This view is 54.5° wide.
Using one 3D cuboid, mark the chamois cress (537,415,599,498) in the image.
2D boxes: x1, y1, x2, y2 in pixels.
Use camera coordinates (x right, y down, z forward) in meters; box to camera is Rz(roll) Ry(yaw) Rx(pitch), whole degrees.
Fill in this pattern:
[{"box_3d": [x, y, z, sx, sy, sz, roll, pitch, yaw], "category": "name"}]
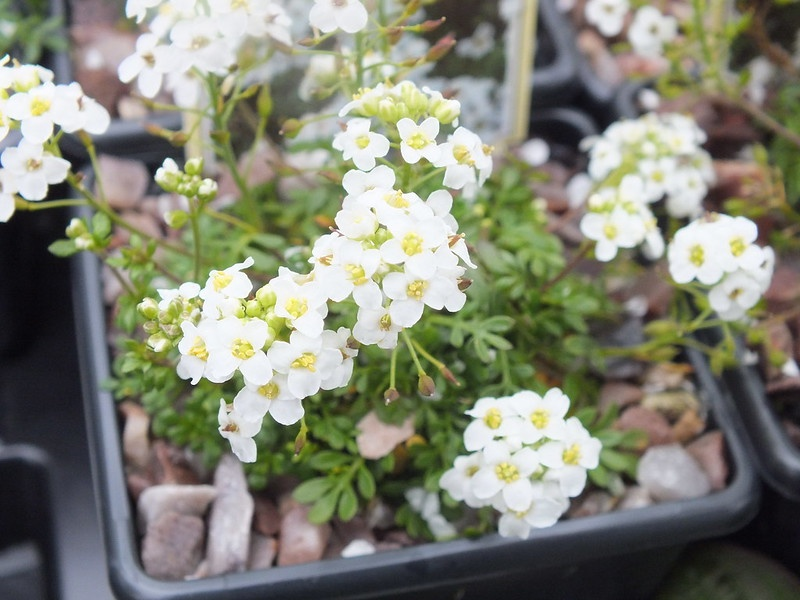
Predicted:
[{"box_3d": [0.343, 0.315, 1.671, 0.146, 0.056, 0.155, 38, 84, -27], "category": "chamois cress"}]
